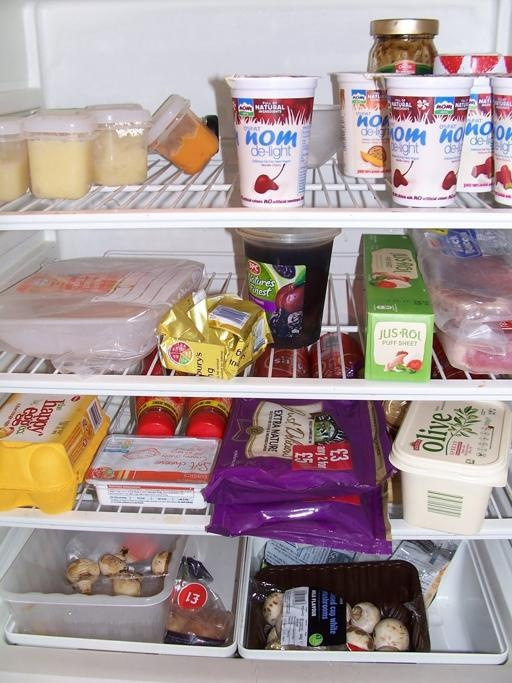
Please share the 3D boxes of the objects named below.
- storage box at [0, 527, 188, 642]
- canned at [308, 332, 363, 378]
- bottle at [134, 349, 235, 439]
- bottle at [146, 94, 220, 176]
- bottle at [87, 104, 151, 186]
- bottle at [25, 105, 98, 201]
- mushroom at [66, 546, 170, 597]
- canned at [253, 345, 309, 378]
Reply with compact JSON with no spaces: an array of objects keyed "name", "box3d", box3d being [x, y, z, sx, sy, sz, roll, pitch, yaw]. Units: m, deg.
[{"name":"storage box","box3d":[-0.293,0.439,0.935,0.228,0.077,0.178,4,20,2]},{"name":"canned","box3d":[0.141,0.022,0.913,0.080,0.091,0.079,-5,53,11]},{"name":"bottle","box3d":[-0.130,0.115,0.885,0.162,0.045,0.149,-1,47,1]},{"name":"bottle","box3d":[-0.115,-0.308,0.789,0.068,0.117,0.165,11,29,23]},{"name":"bottle","box3d":[-0.161,-0.264,0.709,0.105,0.094,0.102,2,30,-1]},{"name":"bottle","box3d":[-0.211,-0.244,0.669,0.105,0.114,0.101,0,29,-4]},{"name":"mushroom","box3d":[-0.243,0.414,0.935,0.105,0.029,0.102,2,17,3]},{"name":"canned","box3d":[0.043,0.033,0.904,0.067,0.064,0.069,25,67,3]}]
